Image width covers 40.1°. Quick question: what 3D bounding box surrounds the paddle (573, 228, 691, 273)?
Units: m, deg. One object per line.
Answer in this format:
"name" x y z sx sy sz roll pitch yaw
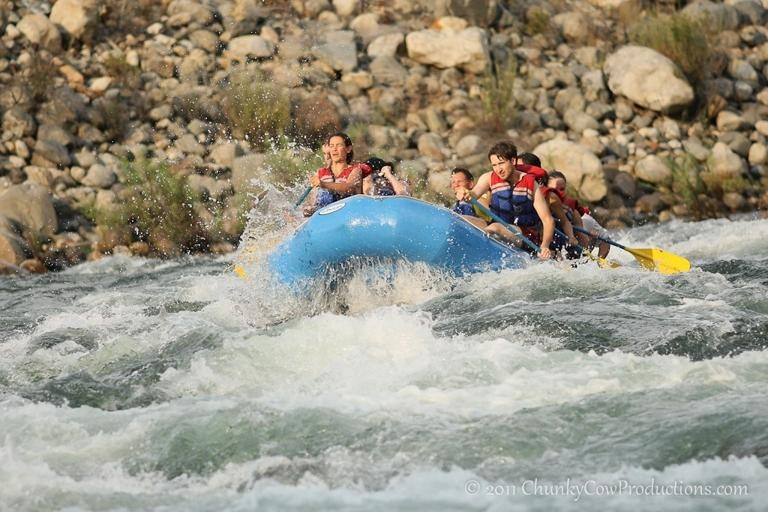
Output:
"paddle" 3.870 -0.063 16.473 0.348 0.068 1.283 -43 47 -21
